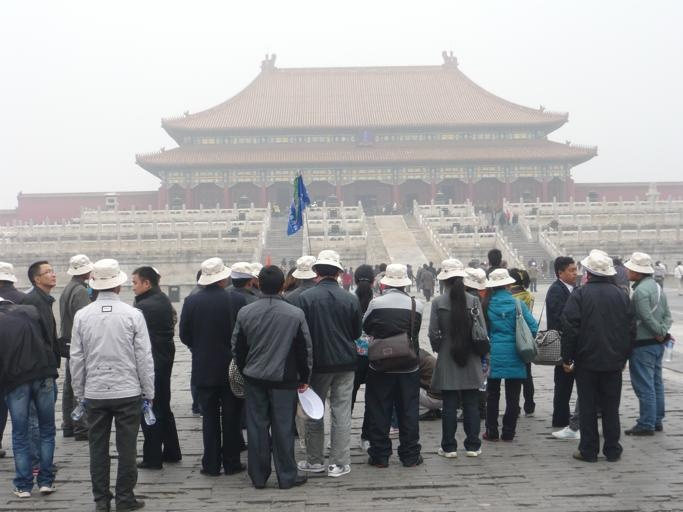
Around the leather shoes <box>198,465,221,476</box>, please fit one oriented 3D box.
[{"bbox_3d":[-1.549,2.495,14.379,0.279,0.177,0.092,0,-7,30],"label":"leather shoes"}]

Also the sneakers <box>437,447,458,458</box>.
[{"bbox_3d":[1.228,2.326,14.652,0.090,0.082,0.209,-1,2,-27],"label":"sneakers"}]

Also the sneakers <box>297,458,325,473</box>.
[{"bbox_3d":[-0.365,2.446,14.472,0.255,0.094,0.136,3,-3,24],"label":"sneakers"}]

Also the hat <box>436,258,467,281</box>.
[{"bbox_3d":[1.281,0.183,14.946,0.323,0.157,0.264,-7,2,21],"label":"hat"}]

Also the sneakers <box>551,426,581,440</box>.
[{"bbox_3d":[2.729,2.171,15.157,0.371,0.155,0.131,1,-7,7],"label":"sneakers"}]

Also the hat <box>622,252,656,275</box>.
[{"bbox_3d":[3.684,0.108,15.421,0.323,0.167,0.278,25,16,29],"label":"hat"}]

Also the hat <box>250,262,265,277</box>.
[{"bbox_3d":[-1.137,0.192,16.590,0.195,0.214,0.232,2,-19,-10],"label":"hat"}]

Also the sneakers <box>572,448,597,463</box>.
[{"bbox_3d":[2.821,2.330,14.494,0.117,0.106,0.270,-2,4,-45],"label":"sneakers"}]

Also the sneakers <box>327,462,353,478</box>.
[{"bbox_3d":[-0.031,2.470,14.277,0.113,0.113,0.282,2,3,39],"label":"sneakers"}]

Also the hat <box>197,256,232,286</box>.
[{"bbox_3d":[-1.508,0.210,14.763,0.320,0.181,0.360,-13,15,12],"label":"hat"}]

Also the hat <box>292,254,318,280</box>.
[{"bbox_3d":[-0.475,0.150,15.368,0.294,0.139,0.293,-4,17,-10],"label":"hat"}]

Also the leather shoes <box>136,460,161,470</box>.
[{"bbox_3d":[-2.241,2.452,14.544,0.301,0.116,0.105,7,-7,8],"label":"leather shoes"}]

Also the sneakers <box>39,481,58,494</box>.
[{"bbox_3d":[-3.285,2.612,13.900,0.081,0.096,0.220,1,-3,5],"label":"sneakers"}]

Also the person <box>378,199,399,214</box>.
[{"bbox_3d":[1.855,-1.890,48.967,0.677,0.343,0.837,-1,-3,-13],"label":"person"}]

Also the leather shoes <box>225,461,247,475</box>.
[{"bbox_3d":[-1.230,2.475,14.400,0.094,0.176,0.276,4,11,39],"label":"leather shoes"}]

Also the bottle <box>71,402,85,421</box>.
[{"bbox_3d":[-2.944,1.739,13.923,0.119,0.195,0.354,-1,-5,-24],"label":"bottle"}]

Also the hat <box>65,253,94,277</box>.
[{"bbox_3d":[-3.193,0.133,15.244,0.319,0.178,0.352,12,32,31],"label":"hat"}]

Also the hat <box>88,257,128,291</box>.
[{"bbox_3d":[-2.674,0.191,14.123,0.491,0.276,0.556,-2,10,11],"label":"hat"}]

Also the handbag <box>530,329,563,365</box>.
[{"bbox_3d":[2.520,1.131,15.146,0.544,0.496,0.365,0,-17,14],"label":"handbag"}]

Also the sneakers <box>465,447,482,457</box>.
[{"bbox_3d":[1.550,2.324,14.665,0.078,0.084,0.209,0,-1,27],"label":"sneakers"}]

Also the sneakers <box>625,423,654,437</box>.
[{"bbox_3d":[3.607,2.140,15.154,0.369,0.145,0.129,1,-6,10],"label":"sneakers"}]

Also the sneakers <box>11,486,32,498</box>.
[{"bbox_3d":[-3.553,2.643,13.838,0.207,0.109,0.117,-2,-4,-2],"label":"sneakers"}]
